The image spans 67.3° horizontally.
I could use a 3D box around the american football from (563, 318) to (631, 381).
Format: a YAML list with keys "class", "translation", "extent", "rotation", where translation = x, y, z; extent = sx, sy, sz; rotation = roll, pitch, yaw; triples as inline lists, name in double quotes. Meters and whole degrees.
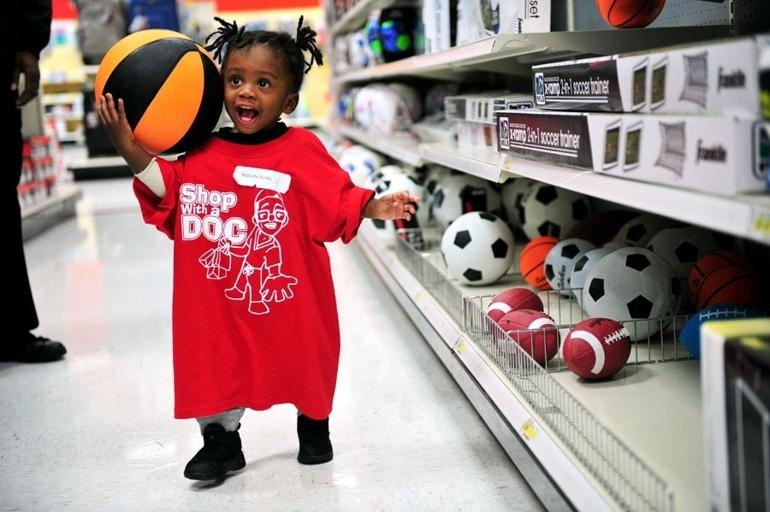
- class: "american football"
  translation: [0.676, 0.292, 1.915]
  extent: [0.203, 0.182, 0.166]
  rotation: [-1, 0, -30]

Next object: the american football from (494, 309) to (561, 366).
- class: "american football"
  translation: [0.508, 0.270, 2.074]
  extent: [0.157, 0.131, 0.210]
  rotation: [13, 8, -13]

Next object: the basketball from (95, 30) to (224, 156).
- class: "basketball"
  translation: [-0.699, -0.556, 1.968]
  extent: [0.316, 0.412, 0.332]
  rotation: [11, 8, 26]

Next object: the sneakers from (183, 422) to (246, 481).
- class: "sneakers"
  translation: [-0.588, 0.674, 2.009]
  extent: [0.118, 0.185, 0.241]
  rotation: [-9, -4, 20]

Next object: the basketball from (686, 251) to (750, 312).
- class: "basketball"
  translation: [1.101, 0.089, 1.972]
  extent: [0.169, 0.231, 0.188]
  rotation: [3, -7, 22]

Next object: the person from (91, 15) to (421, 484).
- class: "person"
  translation: [-0.441, -0.117, 1.954]
  extent: [0.854, 1.331, 0.330]
  rotation: [-4, 12, -2]

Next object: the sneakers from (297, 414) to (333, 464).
- class: "sneakers"
  translation: [-0.244, 0.653, 2.075]
  extent: [0.092, 0.192, 0.188]
  rotation: [0, 3, -1]
